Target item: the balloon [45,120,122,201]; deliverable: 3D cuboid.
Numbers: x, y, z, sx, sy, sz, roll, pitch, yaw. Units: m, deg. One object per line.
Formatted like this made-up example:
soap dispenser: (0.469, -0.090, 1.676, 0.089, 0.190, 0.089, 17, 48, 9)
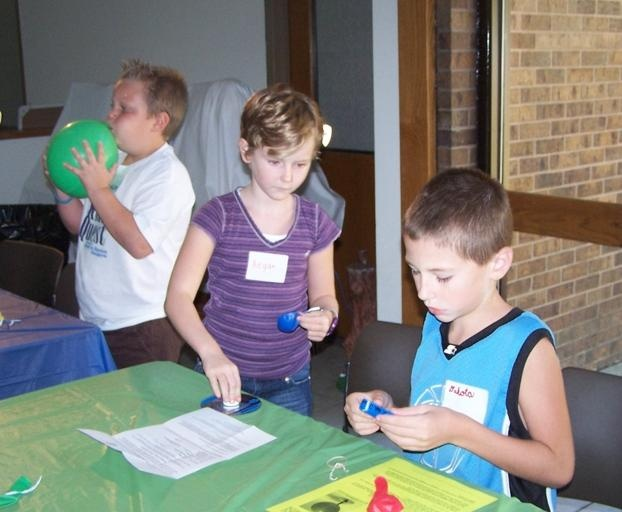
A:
balloon: (-0.884, -0.366, 2.123, 0.268, 0.354, 0.278, 0, 1, 2)
